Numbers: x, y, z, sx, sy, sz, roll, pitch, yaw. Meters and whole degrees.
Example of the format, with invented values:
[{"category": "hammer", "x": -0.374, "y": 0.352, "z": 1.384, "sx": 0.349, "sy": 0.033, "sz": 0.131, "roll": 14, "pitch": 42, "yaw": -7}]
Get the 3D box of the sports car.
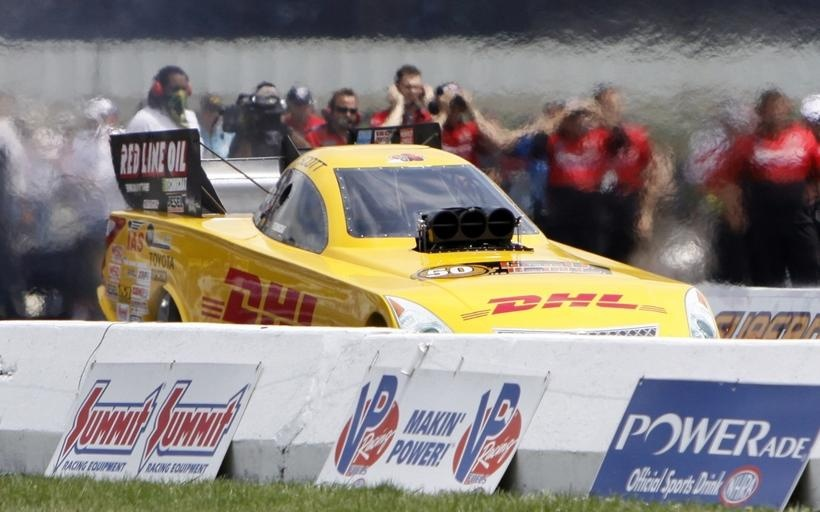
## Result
[{"category": "sports car", "x": -0.642, "y": -0.138, "z": 26.316, "sx": 2.893, "sy": 1.681, "sz": 5.247, "roll": 1, "pitch": 1, "yaw": -37}]
